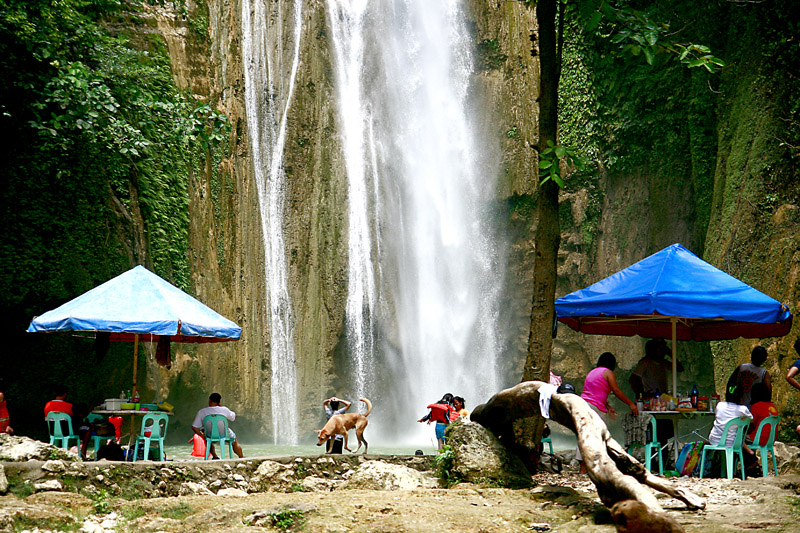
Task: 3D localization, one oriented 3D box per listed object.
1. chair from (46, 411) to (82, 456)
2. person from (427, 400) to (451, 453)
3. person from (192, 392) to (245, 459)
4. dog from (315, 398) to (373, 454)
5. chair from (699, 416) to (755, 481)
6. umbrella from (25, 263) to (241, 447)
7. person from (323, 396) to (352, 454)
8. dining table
[{"bbox_3d":[-7.370,3.728,30.330,0.633,1.062,0.737,0,-4,9],"label":"chair"},{"bbox_3d":[0.958,3.475,30.783,0.539,1.169,1.659,-2,-4,3],"label":"person"},{"bbox_3d":[-3.997,3.561,30.761,1.196,1.629,0.957,-7,8,-28],"label":"person"},{"bbox_3d":[-1.132,3.611,31.343,1.065,1.258,1.736,-3,-4,9],"label":"dog"},{"bbox_3d":[6.812,3.804,28.737,0.792,1.092,0.710,10,-8,-34],"label":"chair"},{"bbox_3d":[-5.784,1.972,30.562,3.556,2.607,3.478,3,0,-36],"label":"umbrella"},{"bbox_3d":[-1.335,3.769,31.069,0.336,0.764,1.328,5,6,20],"label":"person"},{"bbox_3d":[5.776,3.945,29.898,1.371,1.350,1.414,14,-10,42],"label":"dining table"}]
